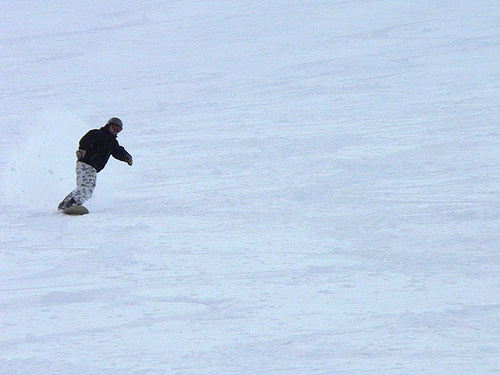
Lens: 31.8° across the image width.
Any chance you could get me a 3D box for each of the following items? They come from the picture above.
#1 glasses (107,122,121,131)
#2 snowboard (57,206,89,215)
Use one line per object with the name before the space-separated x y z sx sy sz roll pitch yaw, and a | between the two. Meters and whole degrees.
glasses | -3.342 -1.494 21.755 0.258 0.213 0.166 28 90 39
snowboard | -4.295 0.588 21.648 0.474 0.314 0.055 -8 68 16
